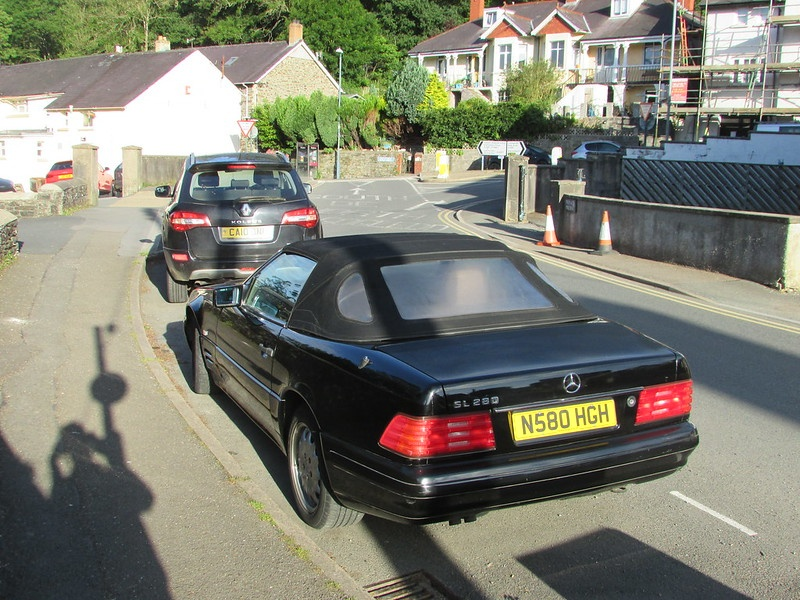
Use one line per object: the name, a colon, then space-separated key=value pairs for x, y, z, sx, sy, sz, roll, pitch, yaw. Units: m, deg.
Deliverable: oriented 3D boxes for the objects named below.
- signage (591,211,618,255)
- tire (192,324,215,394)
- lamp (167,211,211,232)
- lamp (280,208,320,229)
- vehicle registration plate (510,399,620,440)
signage: x=5.272 y=-1.760 z=15.626 sx=0.860 sy=1.014 sz=0.943 roll=-3 pitch=9 yaw=-6
tire: x=-2.024 y=0.606 z=6.321 sx=0.174 sy=0.566 sz=0.550 roll=-3 pitch=32 yaw=-16
lamp: x=-3.099 y=-1.177 z=9.047 sx=0.614 sy=0.285 sz=0.116 roll=1 pitch=10 yaw=13
lamp: x=-1.521 y=-1.257 z=9.288 sx=0.450 sy=0.215 sz=0.288 roll=1 pitch=17 yaw=7
vehicle registration plate: x=1.007 y=0.726 z=3.716 sx=0.080 sy=0.218 sz=0.852 roll=12 pitch=-21 yaw=-27
